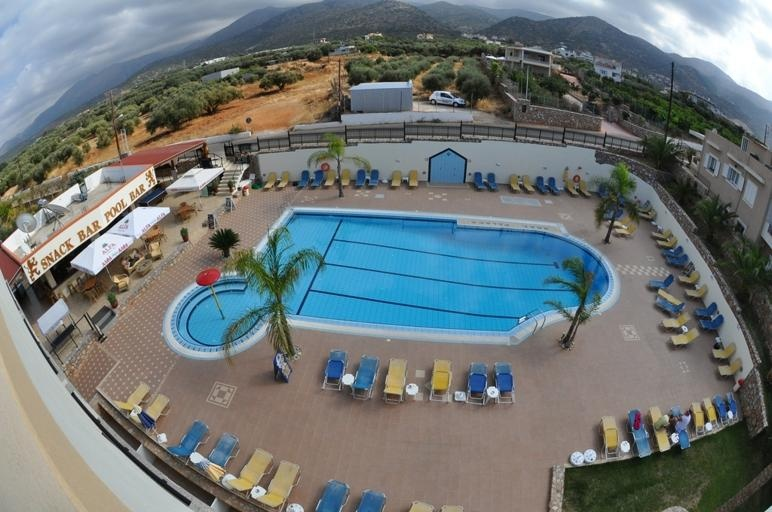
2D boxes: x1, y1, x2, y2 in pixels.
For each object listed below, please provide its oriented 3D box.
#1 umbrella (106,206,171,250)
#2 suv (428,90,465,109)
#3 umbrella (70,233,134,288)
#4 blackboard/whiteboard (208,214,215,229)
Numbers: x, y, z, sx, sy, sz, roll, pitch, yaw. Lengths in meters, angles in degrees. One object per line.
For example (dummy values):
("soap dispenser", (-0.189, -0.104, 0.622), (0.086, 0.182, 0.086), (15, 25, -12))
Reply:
("umbrella", (-12.564, -1.857, 20.785), (1.929, 0.874, 1.966), (1, 36, 9))
("suv", (6.577, -16.386, 42.032), (3.156, 1.299, 1.955), (5, 36, 10))
("umbrella", (-13.987, 0.087, 19.696), (2.002, 1.817, 2.579), (33, 54, -6))
("blackboard/whiteboard", (-10.489, -2.044, 24.312), (0.491, 0.392, 0.946), (-4, 74, -2))
